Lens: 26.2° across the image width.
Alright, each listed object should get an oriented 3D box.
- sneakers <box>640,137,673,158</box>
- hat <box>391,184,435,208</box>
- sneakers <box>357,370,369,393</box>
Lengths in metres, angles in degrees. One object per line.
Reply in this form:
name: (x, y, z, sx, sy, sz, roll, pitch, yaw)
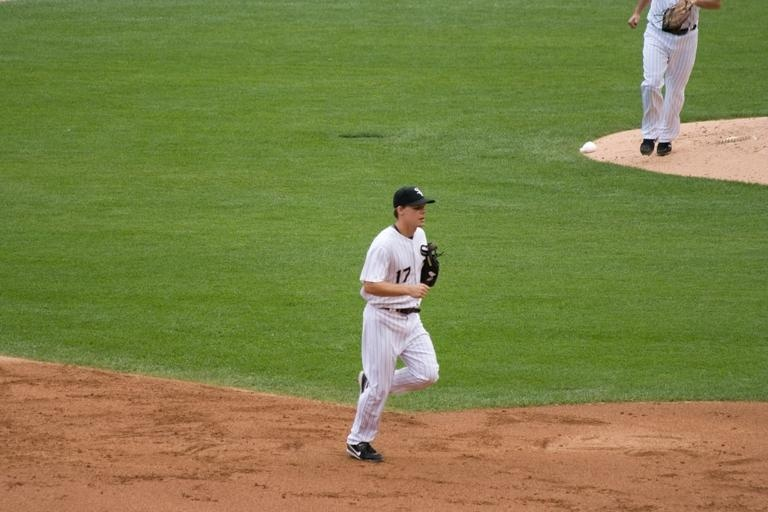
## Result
sneakers: (5.117, -2.054, 31.361, 0.731, 0.266, 0.249, 2, 7, -6)
hat: (0.453, -0.899, 24.987, 0.555, 0.199, 0.340, 0, 7, 11)
sneakers: (-0.283, 1.865, 25.178, 0.142, 0.362, 0.174, -3, -17, -11)
